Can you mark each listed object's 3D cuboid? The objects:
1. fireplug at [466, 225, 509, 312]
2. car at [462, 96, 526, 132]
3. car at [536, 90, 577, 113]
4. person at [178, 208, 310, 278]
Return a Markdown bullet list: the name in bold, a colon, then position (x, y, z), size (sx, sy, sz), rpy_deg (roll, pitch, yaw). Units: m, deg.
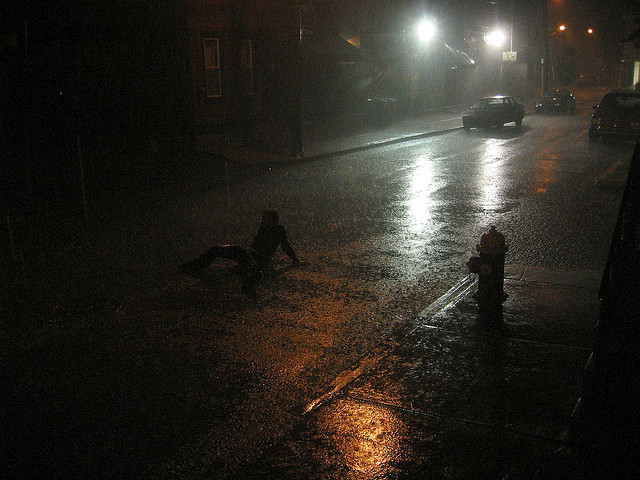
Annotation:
- **fireplug**: position (2.006, 0.322, 7.526), size (0.385, 1.035, 0.406), rpy_deg (0, 15, 10)
- **car**: position (7.606, -5.568, 28.185), size (3.429, 1.386, 1.205), rpy_deg (-15, 20, -37)
- **car**: position (13.757, -7.933, 36.594), size (1.143, 0.944, 2.316), rpy_deg (6, 18, 30)
- **person**: position (-1.125, 0.059, 8.898), size (1.246, 0.891, 1.368), rpy_deg (5, 18, 25)
